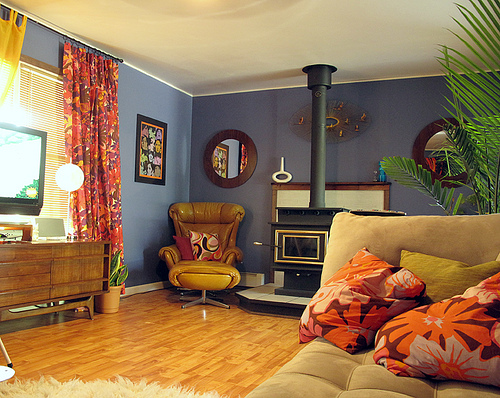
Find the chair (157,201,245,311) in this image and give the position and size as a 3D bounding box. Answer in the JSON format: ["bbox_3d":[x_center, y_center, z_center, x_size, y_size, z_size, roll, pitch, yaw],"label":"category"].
[{"bbox_3d":[-0.572,0.660,4.845,1.066,1.224,1.405,0,-1,-8],"label":"chair"}]

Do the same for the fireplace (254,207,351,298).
[{"bbox_3d":[0.765,0.679,4.933,0.918,1.089,1.130,2,-8,11],"label":"fireplace"}]

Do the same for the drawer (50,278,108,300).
[{"bbox_3d":[-1.590,0.813,3.496,0.299,0.070,0.321,0,-2,21],"label":"drawer"}]

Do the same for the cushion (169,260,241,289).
[{"bbox_3d":[-0.519,0.871,4.374,0.783,0.296,0.322,-1,0,-1],"label":"cushion"}]

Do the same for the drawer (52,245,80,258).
[{"bbox_3d":[-1.656,0.463,3.411,0.037,0.091,0.186,0,-5,25],"label":"drawer"}]

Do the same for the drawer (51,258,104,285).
[{"bbox_3d":[-1.601,0.651,3.491,0.218,0.114,0.281,-3,-5,39],"label":"drawer"}]

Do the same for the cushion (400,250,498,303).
[{"bbox_3d":[0.831,0.308,1.574,0.213,0.064,0.214,-15,13,6],"label":"cushion"}]

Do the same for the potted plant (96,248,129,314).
[{"bbox_3d":[-1.453,0.868,4.113,0.277,0.607,0.507,-1,0,4],"label":"potted plant"}]

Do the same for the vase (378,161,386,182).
[{"bbox_3d":[1.721,-0.368,4.953,0.090,0.267,0.205,-1,1,18],"label":"vase"}]

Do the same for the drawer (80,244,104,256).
[{"bbox_3d":[-1.515,0.478,3.652,0.028,0.117,0.272,0,0,29],"label":"drawer"}]

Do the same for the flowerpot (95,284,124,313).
[{"bbox_3d":[-1.485,1.055,4.015,0.316,0.252,0.285,-2,-16,-9],"label":"flowerpot"}]

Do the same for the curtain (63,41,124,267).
[{"bbox_3d":[-1.684,-0.523,4.240,0.330,2.331,0.712,-1,1,22],"label":"curtain"}]

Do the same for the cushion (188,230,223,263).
[{"bbox_3d":[-0.553,0.578,4.800,0.419,0.377,0.124,5,-31,-38],"label":"cushion"}]
